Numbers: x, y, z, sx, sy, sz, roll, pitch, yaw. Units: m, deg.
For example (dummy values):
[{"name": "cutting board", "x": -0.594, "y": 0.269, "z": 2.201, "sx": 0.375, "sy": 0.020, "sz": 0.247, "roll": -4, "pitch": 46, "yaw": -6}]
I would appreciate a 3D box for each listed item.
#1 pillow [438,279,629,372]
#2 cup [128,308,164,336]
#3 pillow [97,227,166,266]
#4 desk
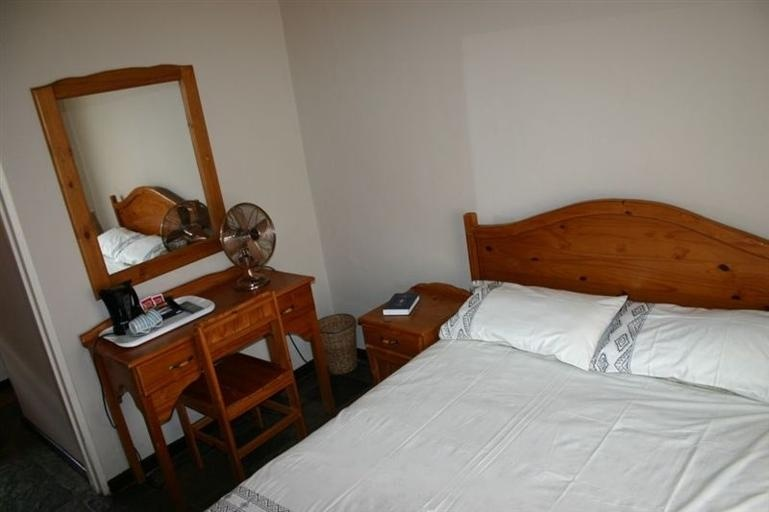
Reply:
[{"name": "pillow", "x": 0.891, "y": 0.373, "z": 2.877, "sx": 0.779, "sy": 0.149, "sz": 0.512, "roll": 4, "pitch": 30, "yaw": 42}, {"name": "cup", "x": -1.431, "y": 0.398, "z": 2.981, "sx": 0.179, "sy": 0.118, "sz": 0.072, "roll": -21, "pitch": -20, "yaw": -33}, {"name": "pillow", "x": -1.678, "y": -0.071, "z": 3.264, "sx": 0.270, "sy": 0.090, "sz": 0.232, "roll": 19, "pitch": 32, "yaw": 18}, {"name": "desk", "x": -1.183, "y": 0.847, "z": 3.124, "sx": 0.716, "sy": 1.058, "sz": 1.349, "roll": 14, "pitch": 26, "yaw": 36}]
